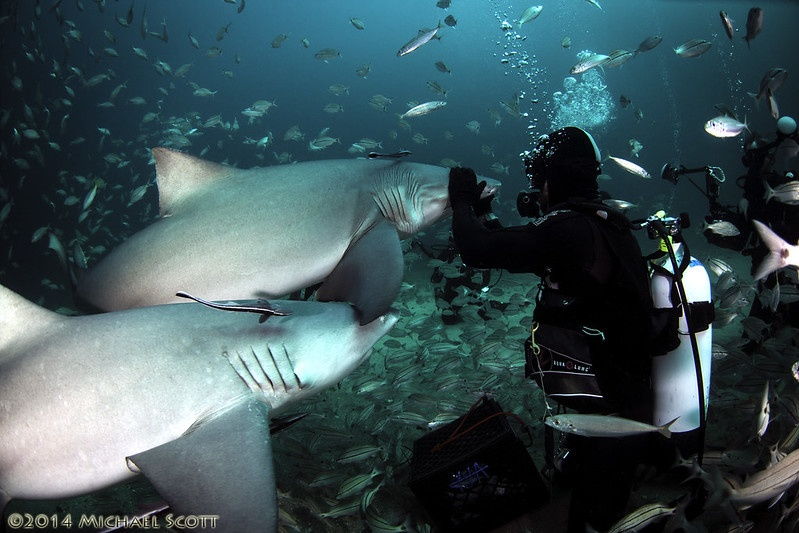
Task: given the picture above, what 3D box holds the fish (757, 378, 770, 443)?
[{"bbox_3d":[7.020,2.836,11.593,0.203,1.144,0.674,1,34,34],"label":"fish"}]
